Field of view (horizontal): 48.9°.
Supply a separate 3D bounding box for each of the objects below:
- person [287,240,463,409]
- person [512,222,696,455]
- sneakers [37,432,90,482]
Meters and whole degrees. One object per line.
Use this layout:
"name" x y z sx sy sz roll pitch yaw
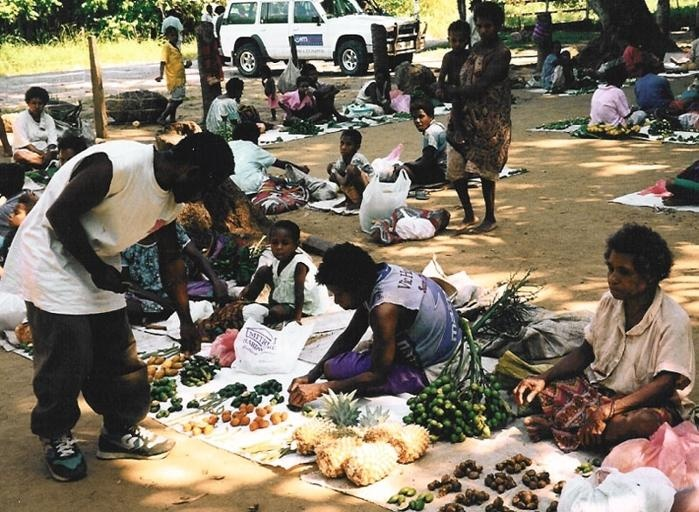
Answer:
"person" 0.187 0.496 5.655 1.258 1.191 0.572 -1 14 5
"person" 1.758 0.476 5.366 1.255 1.445 1.337 -17 24 -42
"sneakers" -1.912 1.295 5.135 0.222 0.218 0.532 -8 21 -26
